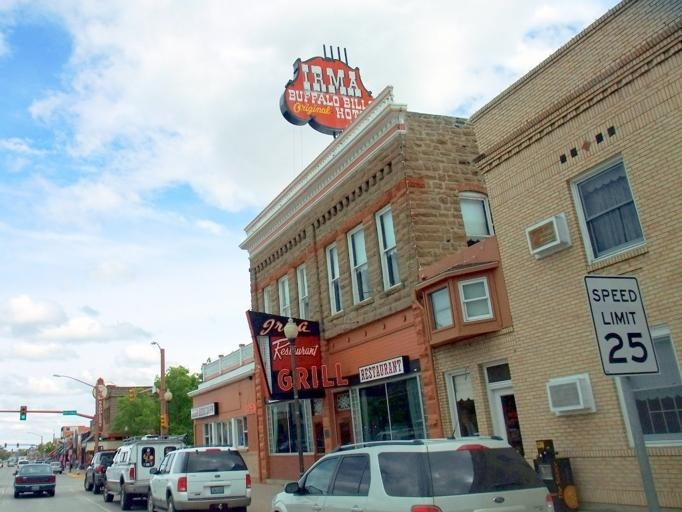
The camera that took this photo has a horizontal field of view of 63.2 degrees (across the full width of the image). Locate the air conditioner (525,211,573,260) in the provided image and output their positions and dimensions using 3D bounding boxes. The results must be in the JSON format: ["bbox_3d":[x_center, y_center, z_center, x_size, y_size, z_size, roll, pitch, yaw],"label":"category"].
[{"bbox_3d":[5.048,-0.477,13.666,0.333,0.701,0.885,8,-23,-32],"label":"air conditioner"}]

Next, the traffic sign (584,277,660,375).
[{"bbox_3d":[3.538,0.724,7.153,0.706,1.571,0.706,1,-12,7],"label":"traffic sign"}]
